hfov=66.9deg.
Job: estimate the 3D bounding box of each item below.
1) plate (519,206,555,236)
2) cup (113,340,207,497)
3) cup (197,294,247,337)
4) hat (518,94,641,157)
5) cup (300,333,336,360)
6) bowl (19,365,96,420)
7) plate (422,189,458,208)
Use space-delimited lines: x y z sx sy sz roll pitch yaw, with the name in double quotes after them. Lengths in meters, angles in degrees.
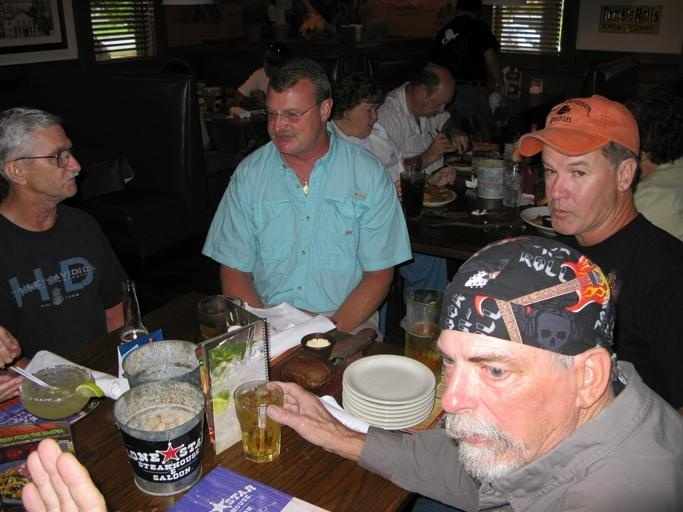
1.116 -0.195 2.967 0.208 0.050 0.186 0 37 3 "plate"
-0.474 0.424 1.512 0.276 0.274 0.400 -13 28 -30 "cup"
-0.428 0.214 1.815 0.161 0.163 0.169 -5 21 2 "cup"
0.944 -0.485 2.098 0.415 0.218 0.295 15 7 -4 "hat"
-0.077 0.307 1.794 0.104 0.037 0.082 -9 28 -23 "cup"
-0.859 0.413 1.570 0.179 0.084 0.167 8 28 -4 "bowl"
0.610 -0.365 3.249 0.168 0.027 0.147 -3 32 2 "plate"
